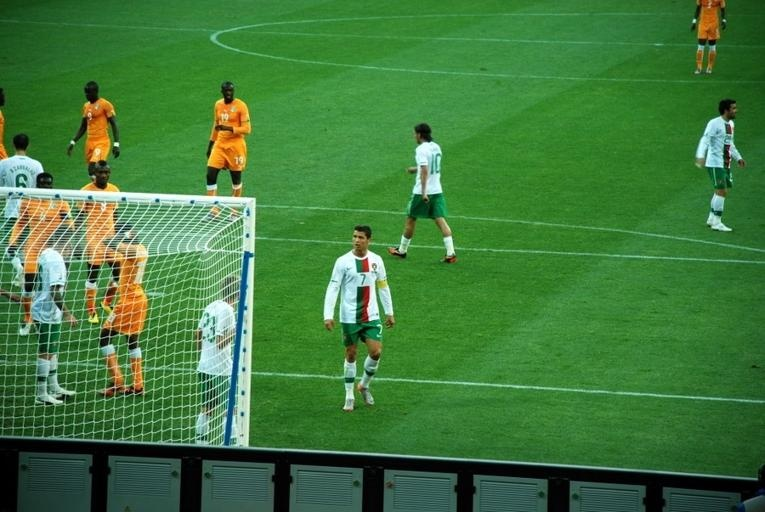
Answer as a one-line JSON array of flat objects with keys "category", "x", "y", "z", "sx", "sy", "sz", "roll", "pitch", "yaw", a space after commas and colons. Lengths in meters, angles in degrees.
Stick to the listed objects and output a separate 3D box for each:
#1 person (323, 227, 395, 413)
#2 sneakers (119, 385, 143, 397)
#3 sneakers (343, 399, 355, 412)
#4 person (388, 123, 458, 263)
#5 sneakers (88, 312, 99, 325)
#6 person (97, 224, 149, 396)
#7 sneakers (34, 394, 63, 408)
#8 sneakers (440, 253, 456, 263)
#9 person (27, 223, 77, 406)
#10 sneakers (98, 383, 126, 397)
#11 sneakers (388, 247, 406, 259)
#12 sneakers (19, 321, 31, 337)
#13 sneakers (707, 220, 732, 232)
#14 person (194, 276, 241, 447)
[{"category": "person", "x": -0.325, "y": 0.862, "z": 16.010, "sx": 0.998, "sy": 2.613, "sz": 0.564, "roll": -4, "pitch": 4, "yaw": -8}, {"category": "sneakers", "x": -3.573, "y": 1.931, "z": 16.035, "sx": 0.373, "sy": 0.148, "sz": 0.129, "roll": 4, "pitch": 4, "yaw": 12}, {"category": "sneakers", "x": -0.463, "y": 2.126, "z": 15.859, "sx": 0.171, "sy": 0.177, "sz": 0.438, "roll": 0, "pitch": -5, "yaw": 0}, {"category": "person", "x": 0.722, "y": -1.134, "z": 19.978, "sx": 1.132, "sy": 2.507, "sz": 1.297, "roll": -3, "pitch": 4, "yaw": 2}, {"category": "sneakers", "x": -4.543, "y": 0.968, "z": 17.524, "sx": 0.203, "sy": 0.181, "sz": 0.121, "roll": 6, "pitch": -7, "yaw": -34}, {"category": "person", "x": -3.735, "y": 0.769, "z": 16.138, "sx": 0.767, "sy": 2.423, "sz": 0.744, "roll": -4, "pitch": 4, "yaw": -14}, {"category": "sneakers", "x": -4.739, "y": 2.044, "z": 15.807, "sx": 0.433, "sy": 0.151, "sz": 0.150, "roll": 2, "pitch": 13, "yaw": -5}, {"category": "sneakers", "x": 1.217, "y": 0.033, "z": 20.001, "sx": 0.109, "sy": 0.123, "sz": 0.283, "roll": -6, "pitch": 8, "yaw": -27}, {"category": "person", "x": -4.662, "y": 0.877, "z": 15.962, "sx": 0.473, "sy": 2.459, "sz": 0.667, "roll": -3, "pitch": 4, "yaw": 15}, {"category": "sneakers", "x": -3.844, "y": 1.912, "z": 16.031, "sx": 0.423, "sy": 0.173, "sz": 0.143, "roll": -4, "pitch": 9, "yaw": -3}, {"category": "sneakers", "x": 0.279, "y": -0.058, "z": 20.111, "sx": 0.374, "sy": 0.157, "sz": 0.140, "roll": 24, "pitch": -19, "yaw": -1}, {"category": "sneakers", "x": -5.511, "y": 1.106, "z": 17.198, "sx": 0.154, "sy": 0.157, "sz": 0.389, "roll": 3, "pitch": 3, "yaw": -17}, {"category": "sneakers", "x": 6.513, "y": -0.591, "z": 21.400, "sx": 0.456, "sy": 0.175, "sz": 0.171, "roll": 5, "pitch": 15, "yaw": 2}, {"category": "person", "x": -2.218, "y": 1.390, "z": 15.131, "sx": 0.596, "sy": 2.225, "sz": 0.861, "roll": -2, "pitch": 4, "yaw": 28}]
